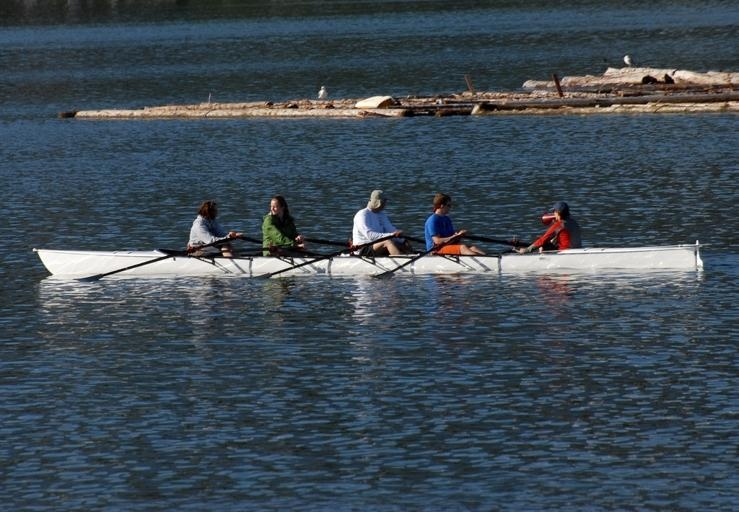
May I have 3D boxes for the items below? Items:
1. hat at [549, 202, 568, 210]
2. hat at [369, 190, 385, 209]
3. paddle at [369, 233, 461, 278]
[{"bbox_3d":[4.684,-1.212,33.161,0.495,0.154,0.275,7,6,-8],"label":"hat"},{"bbox_3d":[0.198,-1.390,33.934,0.433,0.444,0.442,-4,7,0],"label":"hat"},{"bbox_3d":[1.150,0.011,33.854,3.133,0.208,0.261,-17,28,-4],"label":"paddle"}]
